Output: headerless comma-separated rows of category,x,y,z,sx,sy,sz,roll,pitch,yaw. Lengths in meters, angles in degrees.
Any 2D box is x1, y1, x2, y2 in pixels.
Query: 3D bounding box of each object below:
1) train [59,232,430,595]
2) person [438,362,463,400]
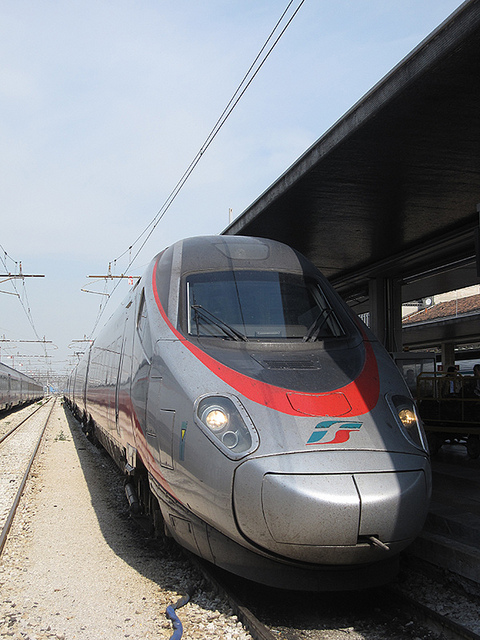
train,-0.387,0.641,4.985,1.571,1.662,5.748,-1,-2,-9
person,4.199,1.253,9.020,0.455,0.701,1.105,-6,-13,23
